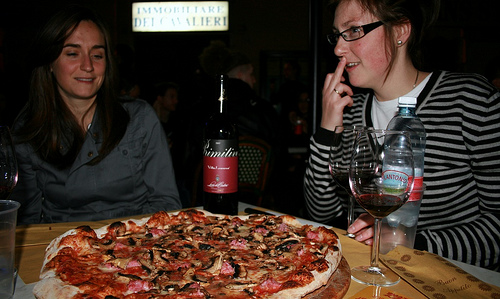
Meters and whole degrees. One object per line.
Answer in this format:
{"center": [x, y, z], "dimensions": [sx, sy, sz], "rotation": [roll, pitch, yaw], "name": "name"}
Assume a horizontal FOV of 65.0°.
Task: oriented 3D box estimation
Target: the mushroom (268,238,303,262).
{"center": [0.188, 0.490, 1.943], "dimensions": [0.142, 0.071, 0.168], "rotation": [-1, 5, -9], "name": "mushroom"}

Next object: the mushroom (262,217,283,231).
{"center": [0.123, 0.397, 2.127], "dimensions": [0.082, 0.025, 0.059], "rotation": [-14, 29, -26], "name": "mushroom"}

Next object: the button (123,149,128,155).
{"center": [-0.866, 0.014, 2.722], "dimensions": [0.030, 0.029, 0.016], "rotation": [-3, 0, -10], "name": "button"}

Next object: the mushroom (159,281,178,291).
{"center": [-0.354, 0.589, 1.702], "dimensions": [0.074, 0.018, 0.053], "rotation": [3, 9, 4], "name": "mushroom"}

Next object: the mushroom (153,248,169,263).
{"center": [-0.422, 0.497, 1.839], "dimensions": [0.051, 0.020, 0.053], "rotation": [24, 18, 38], "name": "mushroom"}

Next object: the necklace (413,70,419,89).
{"center": [1.110, -0.471, 2.642], "dimensions": [0.026, 0.131, 0.028], "rotation": [21, -15, -14], "name": "necklace"}

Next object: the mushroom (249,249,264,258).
{"center": [0.039, 0.502, 1.911], "dimensions": [0.049, 0.013, 0.028], "rotation": [16, 29, 25], "name": "mushroom"}

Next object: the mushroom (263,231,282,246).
{"center": [0.113, 0.457, 2.012], "dimensions": [0.054, 0.016, 0.056], "rotation": [11, 21, 31], "name": "mushroom"}

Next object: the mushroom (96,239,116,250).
{"center": [-0.696, 0.463, 1.923], "dimensions": [0.049, 0.013, 0.047], "rotation": [11, 17, -7], "name": "mushroom"}

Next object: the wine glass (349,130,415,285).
{"center": [0.598, 0.246, 1.754], "dimensions": [0.292, 0.665, 0.225], "rotation": [-5, 13, -34], "name": "wine glass"}

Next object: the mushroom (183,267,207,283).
{"center": [-0.251, 0.562, 1.734], "dimensions": [0.110, 0.030, 0.062], "rotation": [11, 13, 44], "name": "mushroom"}

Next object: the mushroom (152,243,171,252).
{"center": [-0.435, 0.480, 1.918], "dimensions": [0.054, 0.017, 0.039], "rotation": [9, 34, 9], "name": "mushroom"}

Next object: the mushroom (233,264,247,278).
{"center": [-0.045, 0.552, 1.790], "dimensions": [0.061, 0.036, 0.060], "rotation": [1, 9, -6], "name": "mushroom"}

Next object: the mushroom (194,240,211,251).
{"center": [-0.235, 0.470, 1.947], "dimensions": [0.057, 0.019, 0.043], "rotation": [19, 12, 42], "name": "mushroom"}

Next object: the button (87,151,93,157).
{"center": [-1.073, 0.027, 2.642], "dimensions": [0.027, 0.026, 0.026], "rotation": [1, -3, -3], "name": "button"}

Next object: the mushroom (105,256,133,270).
{"center": [-0.594, 0.514, 1.798], "dimensions": [0.069, 0.024, 0.066], "rotation": [-15, 24, -22], "name": "mushroom"}

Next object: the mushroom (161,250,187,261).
{"center": [-0.355, 0.504, 1.871], "dimensions": [0.077, 0.018, 0.047], "rotation": [3, 7, 19], "name": "mushroom"}

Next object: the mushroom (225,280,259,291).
{"center": [-0.036, 0.595, 1.718], "dimensions": [0.142, 0.018, 0.049], "rotation": [0, 9, -15], "name": "mushroom"}

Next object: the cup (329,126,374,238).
{"center": [0.525, 0.174, 2.044], "dimensions": [0.254, 0.554, 0.230], "rotation": [-1, 2, -25], "name": "cup"}

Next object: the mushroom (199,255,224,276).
{"center": [-0.171, 0.525, 1.808], "dimensions": [0.091, 0.069, 0.091], "rotation": [5, 10, 15], "name": "mushroom"}

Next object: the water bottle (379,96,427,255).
{"center": [0.790, 0.230, 2.120], "dimensions": [0.342, 0.993, 0.261], "rotation": [3, 4, 25], "name": "water bottle"}
